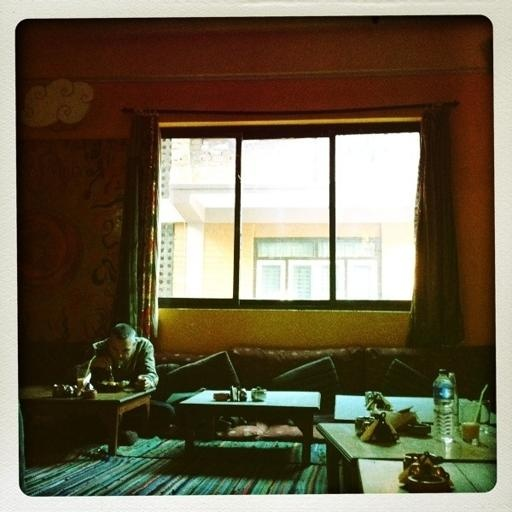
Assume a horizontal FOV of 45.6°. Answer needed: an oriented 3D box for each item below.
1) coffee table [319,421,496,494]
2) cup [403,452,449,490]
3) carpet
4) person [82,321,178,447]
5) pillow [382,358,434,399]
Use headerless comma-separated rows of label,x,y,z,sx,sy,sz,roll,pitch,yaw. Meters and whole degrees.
coffee table,0.730,1.018,2.912,0.876,0.314,0.600,1,-1,8
cup,0.756,0.966,2.738,0.129,0.127,0.186,0,-10,4
carpet,-0.449,1.241,3.627,1.747,0.199,0.585,1,-1,0
person,-0.895,0.904,4.241,0.523,0.815,0.707,-3,-24,-10
pillow,0.978,0.808,3.973,0.214,0.212,0.054,31,-17,9
